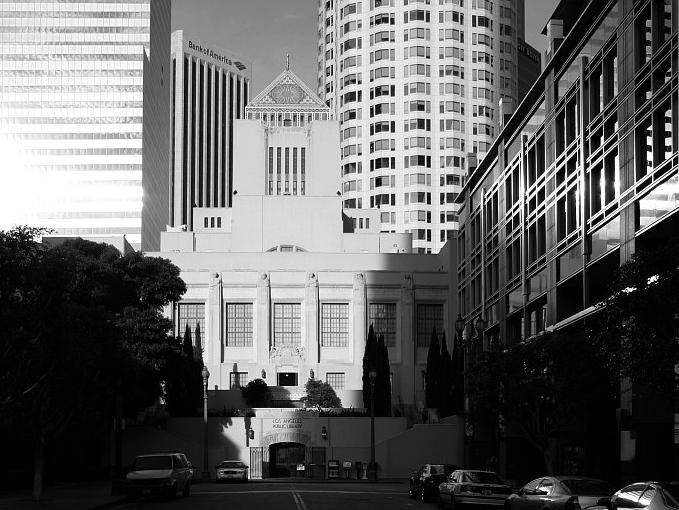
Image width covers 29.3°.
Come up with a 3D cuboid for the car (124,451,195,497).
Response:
[{"bbox_3d":[-9.051,11.333,66.826,1.950,2.526,4.462,-7,-16,26],"label":"car"}]

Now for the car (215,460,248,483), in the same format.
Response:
[{"bbox_3d":[-6.980,14.069,84.228,1.973,1.416,1.754,2,-14,-7],"label":"car"}]
